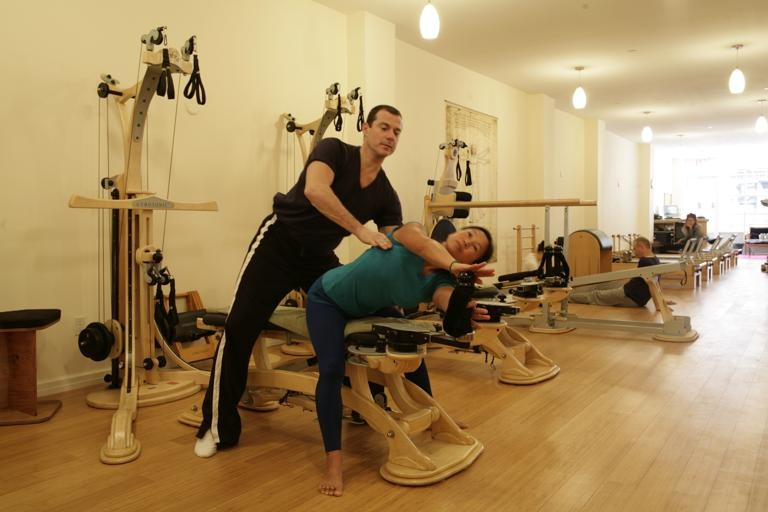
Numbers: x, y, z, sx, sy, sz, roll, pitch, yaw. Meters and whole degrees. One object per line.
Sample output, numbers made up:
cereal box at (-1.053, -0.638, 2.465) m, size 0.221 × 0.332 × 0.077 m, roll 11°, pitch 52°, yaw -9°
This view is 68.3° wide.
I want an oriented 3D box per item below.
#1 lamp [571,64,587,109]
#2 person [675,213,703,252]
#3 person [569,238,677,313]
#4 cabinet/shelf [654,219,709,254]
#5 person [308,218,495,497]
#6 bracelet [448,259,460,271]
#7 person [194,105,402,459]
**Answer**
lamp at (2.662, -2.295, 7.737) m, size 0.193 × 0.539 × 0.192 m, roll 10°, pitch 25°, yaw 39°
person at (6.310, -0.473, 11.773) m, size 0.441 × 0.817 × 0.973 m, roll 5°, pitch 13°, yaw 25°
person at (3.020, 0.215, 7.629) m, size 0.856 × 0.867 × 1.495 m, roll -16°, pitch 6°, yaw -34°
cabinet/shelf at (6.339, -0.403, 12.138) m, size 0.890 × 0.832 × 0.490 m, roll -1°, pitch -5°, yaw 19°
person at (0.021, 0.482, 3.223) m, size 1.104 × 1.524 × 0.873 m, roll 12°, pitch 0°, yaw 24°
bracelet at (0.367, 0.055, 2.994) m, size 0.040 × 0.053 × 0.052 m, roll 11°, pitch 17°, yaw 43°
person at (-0.384, 0.144, 3.579) m, size 1.244 × 2.232 × 1.057 m, roll 7°, pitch -3°, yaw -8°
